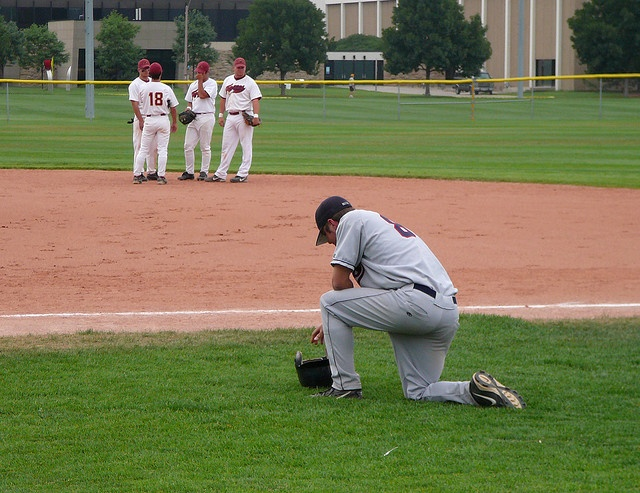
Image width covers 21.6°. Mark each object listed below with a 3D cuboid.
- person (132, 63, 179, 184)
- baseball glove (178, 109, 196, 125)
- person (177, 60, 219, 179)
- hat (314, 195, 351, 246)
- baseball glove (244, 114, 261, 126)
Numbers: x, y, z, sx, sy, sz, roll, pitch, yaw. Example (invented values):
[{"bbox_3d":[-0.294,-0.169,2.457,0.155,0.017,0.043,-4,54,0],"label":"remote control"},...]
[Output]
[{"bbox_3d":[-5.354,-3.983,53.928,1.429,3.808,1.064,3,7,6],"label":"person"},{"bbox_3d":[-4.359,-4.219,54.253,0.539,0.386,0.409,-18,29,-11],"label":"baseball glove"},{"bbox_3d":[-4.066,-4.110,54.534,1.197,3.808,1.409,3,-4,-30],"label":"person"},{"bbox_3d":[0.268,-0.720,44.857,0.900,1.262,0.226,0,4,1],"label":"hat"},{"bbox_3d":[-2.186,-4.118,53.943,0.685,0.418,0.511,-2,4,-32],"label":"baseball glove"}]
